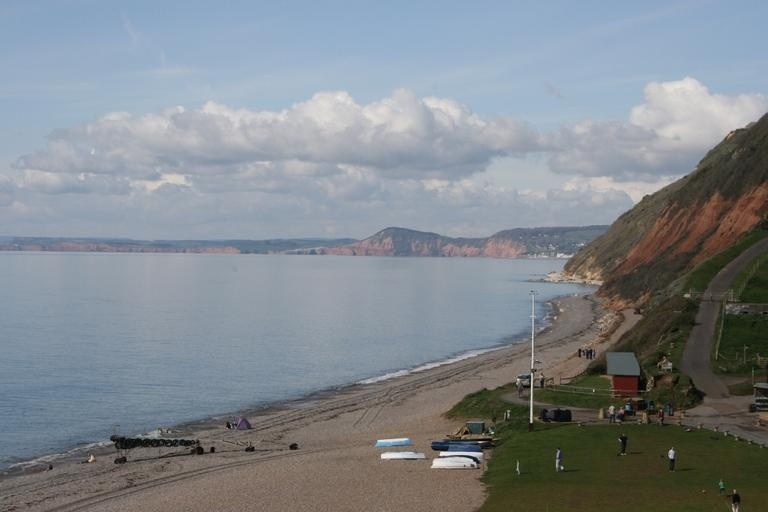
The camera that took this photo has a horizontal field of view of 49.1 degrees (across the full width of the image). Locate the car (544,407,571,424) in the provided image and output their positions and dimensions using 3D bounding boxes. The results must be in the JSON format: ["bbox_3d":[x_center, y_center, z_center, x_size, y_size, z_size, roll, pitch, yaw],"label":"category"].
[{"bbox_3d":[21.300,19.579,103.315,2.069,1.179,2.654,-2,1,-28],"label":"car"}]

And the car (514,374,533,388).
[{"bbox_3d":[19.820,17.639,118.745,1.781,1.114,2.563,-1,-8,-5],"label":"car"}]

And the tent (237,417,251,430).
[{"bbox_3d":[-18.985,22.891,114.833,1.763,0.749,1.707,0,1,12],"label":"tent"}]
